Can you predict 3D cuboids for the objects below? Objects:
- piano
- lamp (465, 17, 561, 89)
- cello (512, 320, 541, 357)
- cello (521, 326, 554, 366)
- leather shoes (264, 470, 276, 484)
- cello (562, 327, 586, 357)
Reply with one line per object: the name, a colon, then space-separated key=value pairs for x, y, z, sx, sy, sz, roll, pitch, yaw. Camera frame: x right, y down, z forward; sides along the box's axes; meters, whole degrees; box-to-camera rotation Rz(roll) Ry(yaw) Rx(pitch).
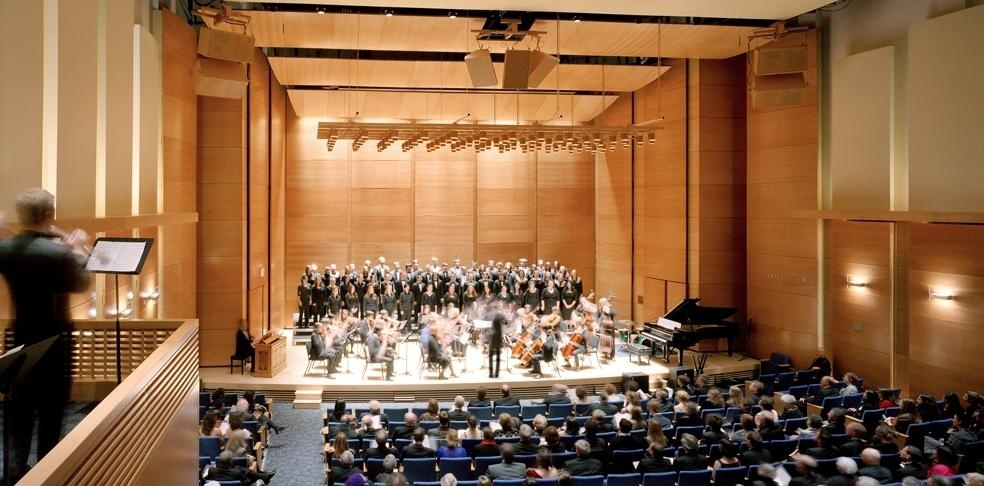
piano: x=7.229 y=3.045 z=23.088 sx=3.799 sy=2.102 sz=1.990 roll=0 pitch=-1 yaw=-12
lamp: x=0.526 y=-6.068 z=20.573 sx=3.134 sy=1.939 sz=1.614 roll=-6 pitch=23 yaw=-23
cello: x=1.162 y=3.356 z=22.118 sx=0.548 sy=1.388 sz=0.754 roll=27 pitch=36 yaw=-7
cello: x=1.590 y=3.528 z=21.729 sx=0.522 sy=0.860 sz=1.456 roll=19 pitch=5 yaw=-20
leather shoes: x=-5.954 y=6.276 z=17.240 sx=0.305 sy=0.397 sz=0.216 roll=13 pitch=-1 yaw=-28
cello: x=2.856 y=3.400 z=21.774 sx=0.517 sy=0.606 sz=1.072 roll=7 pitch=-40 yaw=-4
